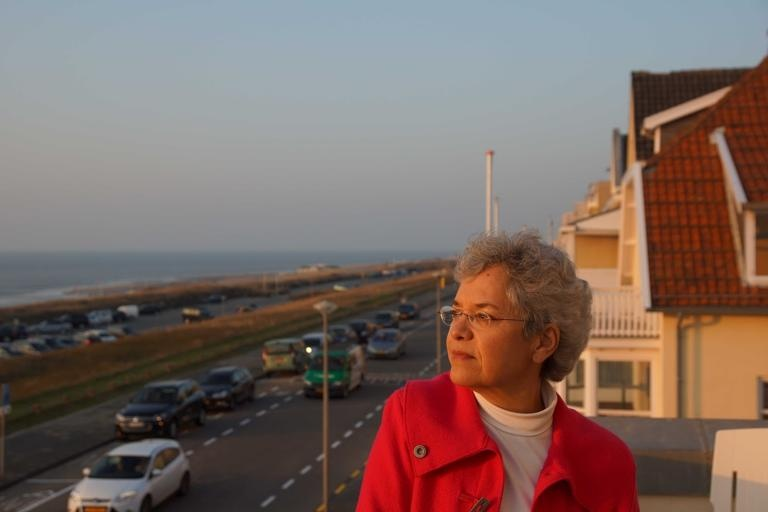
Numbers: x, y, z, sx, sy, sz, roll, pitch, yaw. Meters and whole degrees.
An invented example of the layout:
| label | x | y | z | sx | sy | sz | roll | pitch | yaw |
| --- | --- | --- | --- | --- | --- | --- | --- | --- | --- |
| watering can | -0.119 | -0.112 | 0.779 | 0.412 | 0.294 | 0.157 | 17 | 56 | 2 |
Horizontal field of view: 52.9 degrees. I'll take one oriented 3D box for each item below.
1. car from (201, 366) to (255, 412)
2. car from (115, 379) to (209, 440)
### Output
| label | x | y | z | sx | sy | sz | roll | pitch | yaw |
| --- | --- | --- | --- | --- | --- | --- | --- | --- | --- |
| car | -7.768 | 6.560 | 37.318 | 1.526 | 1.842 | 3.004 | 1 | 4 | 17 |
| car | -9.253 | 6.377 | 31.862 | 2.019 | 1.829 | 3.338 | 2 | 4 | 20 |
